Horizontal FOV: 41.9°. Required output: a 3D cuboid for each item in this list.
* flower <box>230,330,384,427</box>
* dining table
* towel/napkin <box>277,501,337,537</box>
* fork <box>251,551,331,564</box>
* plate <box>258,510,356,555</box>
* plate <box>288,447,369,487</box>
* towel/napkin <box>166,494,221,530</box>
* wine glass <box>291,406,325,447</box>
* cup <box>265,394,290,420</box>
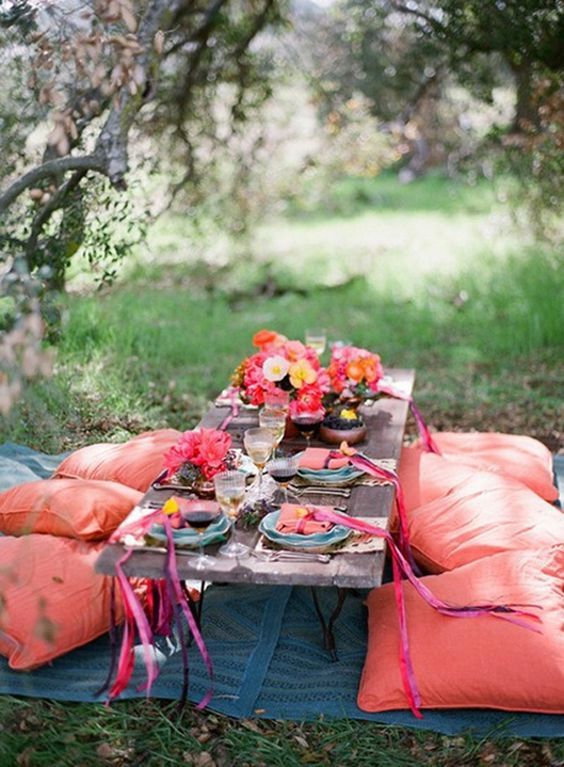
[{"bbox_3d":[0.088,-0.025,2.835,0.476,0.287,0.458,11,9,19],"label":"flower"},{"bbox_3d":[0.035,0.540,2.697,0.784,0.810,1.386,-1,26,11],"label":"dining table"},{"bbox_3d":[0.058,0.382,2.070,0.097,0.034,0.097,9,17,29],"label":"towel/napkin"},{"bbox_3d":[0.022,0.464,1.959,0.208,0.013,0.056,2,26,14],"label":"fork"},{"bbox_3d":[0.052,0.419,2.049,0.246,0.047,0.154,6,27,23],"label":"plate"},{"bbox_3d":[0.146,0.278,2.429,0.154,0.042,0.159,9,18,27],"label":"plate"},{"bbox_3d":[-0.236,0.333,1.958,0.132,0.052,0.123,1,0,-1],"label":"towel/napkin"},{"bbox_3d":[0.086,0.152,2.657,0.156,0.148,0.134,-1,4,0],"label":"wine glass"},{"bbox_3d":[-0.022,0.077,2.493,0.089,0.083,0.081,-1,12,-9],"label":"cup"}]
